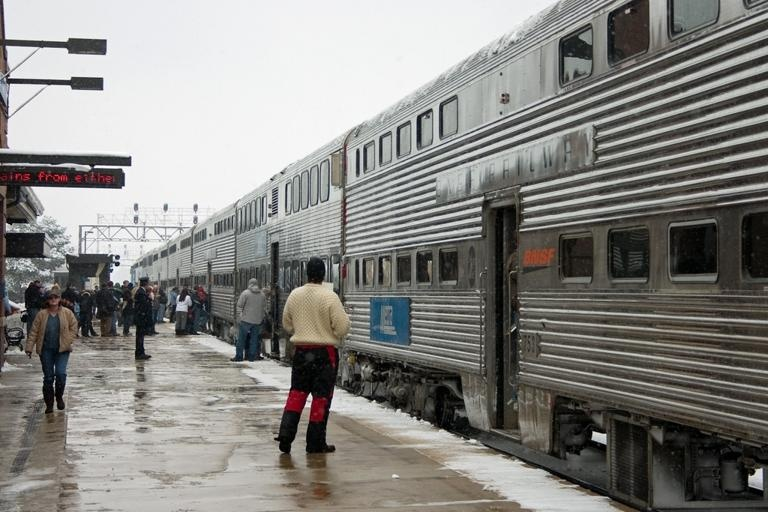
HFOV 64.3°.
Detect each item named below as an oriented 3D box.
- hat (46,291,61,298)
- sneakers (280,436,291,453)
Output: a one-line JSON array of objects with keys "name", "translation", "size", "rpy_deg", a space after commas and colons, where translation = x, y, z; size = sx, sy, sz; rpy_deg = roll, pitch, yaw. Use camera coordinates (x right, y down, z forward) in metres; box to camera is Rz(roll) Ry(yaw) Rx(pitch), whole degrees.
[{"name": "hat", "translation": [-6.115, 0.693, 11.240], "size": [0.304, 0.104, 0.231], "rpy_deg": [3, 3, 45]}, {"name": "sneakers", "translation": [-1.235, 2.420, 7.808], "size": [0.151, 0.218, 0.224], "rpy_deg": [3, -17, -7]}]
